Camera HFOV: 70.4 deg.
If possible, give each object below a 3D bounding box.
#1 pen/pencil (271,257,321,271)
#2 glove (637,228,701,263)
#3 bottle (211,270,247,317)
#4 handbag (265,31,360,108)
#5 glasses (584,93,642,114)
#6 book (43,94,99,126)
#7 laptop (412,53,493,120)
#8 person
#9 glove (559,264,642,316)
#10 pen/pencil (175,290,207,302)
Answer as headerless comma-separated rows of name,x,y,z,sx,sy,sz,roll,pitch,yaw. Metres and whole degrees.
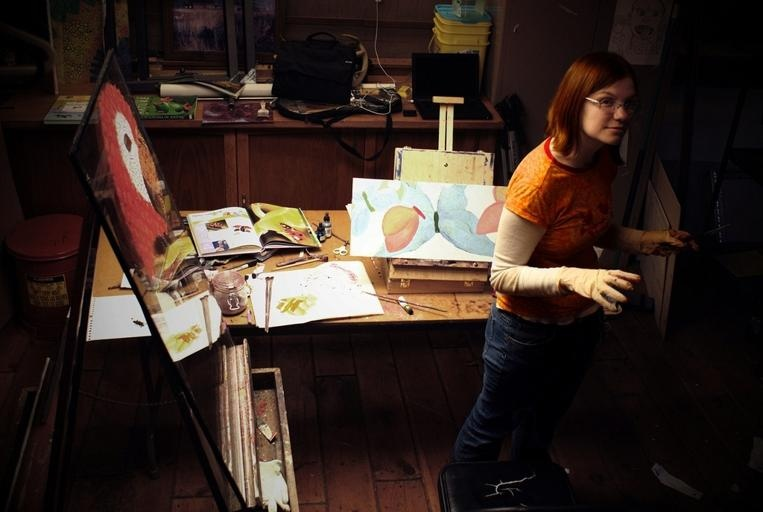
pen/pencil,-0.401,0.036,2.516,0.152,0.026,0.028,-10,54,-27
glove,1.002,-0.036,1.899,0.078,0.090,0.256,-22,4,-8
bottle,-0.608,0.142,2.268,0.153,0.156,0.164,-1,37,-4
handbag,-0.438,-1.251,3.657,0.564,0.481,0.305,7,12,4
glasses,0.747,-0.487,1.730,0.179,0.043,0.056,0,28,-7
book,-1.889,-0.878,3.246,0.216,0.092,0.392,-6,29,-17
laptop,0.456,-1.200,3.542,0.518,0.332,0.489,-3,53,-2
person,0.707,0.247,2.078,0.612,1.900,0.630,16,30,23
glove,0.705,0.114,1.756,0.206,0.069,0.156,10,71,37
pen/pencil,-0.605,0.125,1.704,0.010,0.027,0.162,-7,-3,15
